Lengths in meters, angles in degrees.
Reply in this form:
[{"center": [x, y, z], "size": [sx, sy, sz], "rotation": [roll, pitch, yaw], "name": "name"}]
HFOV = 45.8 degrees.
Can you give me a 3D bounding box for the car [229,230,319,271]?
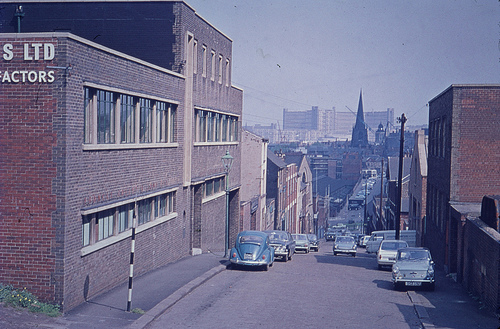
[{"center": [0.948, 4.678, 33.630], "size": [1.709, 1.845, 8.053], "rotation": [2, -1, 15], "name": "car"}]
